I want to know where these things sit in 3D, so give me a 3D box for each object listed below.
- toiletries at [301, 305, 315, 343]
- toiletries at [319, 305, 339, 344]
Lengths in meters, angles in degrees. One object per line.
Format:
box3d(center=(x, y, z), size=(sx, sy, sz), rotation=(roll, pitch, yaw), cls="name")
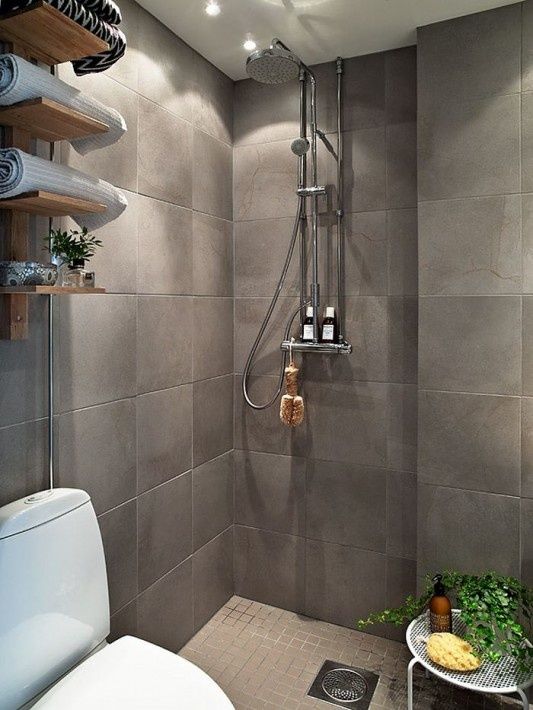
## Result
box3d(center=(0.149, -0.118, 2.149), size=(0.042, 0.136, 0.126), rotation=(0, 6, 2), cls="toiletries")
box3d(center=(0.229, -0.112, 2.136), size=(0.065, 0.129, 0.108), rotation=(0, 6, 7), cls="toiletries")
